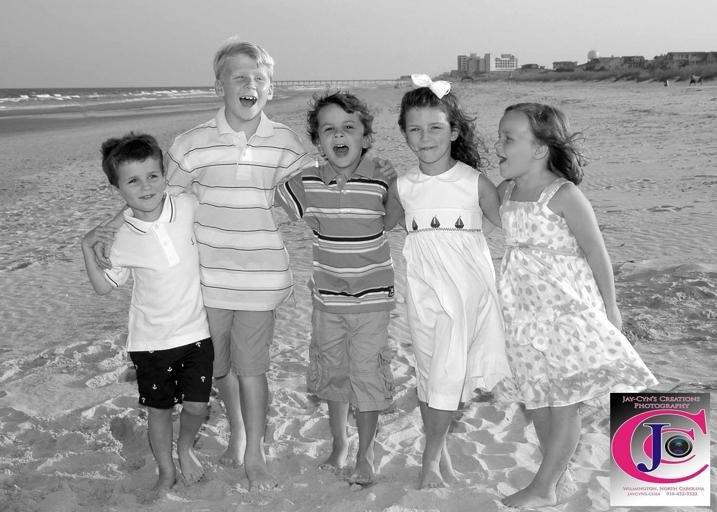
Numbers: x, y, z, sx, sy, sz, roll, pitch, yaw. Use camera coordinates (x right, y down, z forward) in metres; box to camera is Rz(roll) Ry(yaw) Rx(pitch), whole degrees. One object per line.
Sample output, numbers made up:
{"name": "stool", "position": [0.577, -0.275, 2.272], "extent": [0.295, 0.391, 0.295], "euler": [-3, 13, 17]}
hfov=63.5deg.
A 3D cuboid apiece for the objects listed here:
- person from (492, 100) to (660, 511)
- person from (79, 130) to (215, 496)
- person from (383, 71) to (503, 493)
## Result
{"name": "person", "position": [1.137, 0.237, 3.141], "extent": [0.723, 2.105, 0.807], "euler": [-4, 14, 1]}
{"name": "person", "position": [-1.155, 0.324, 3.311], "extent": [0.598, 2.015, 0.493], "euler": [-8, 14, -13]}
{"name": "person", "position": [0.504, 0.103, 3.274], "extent": [0.662, 2.211, 0.777], "euler": [-4, 14, 3]}
